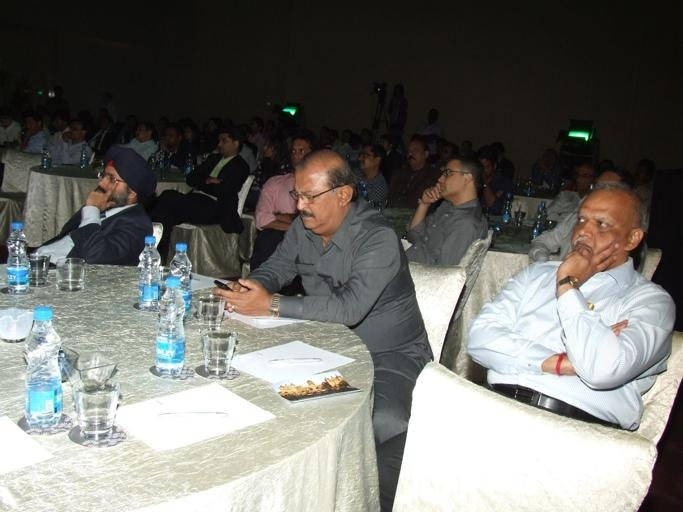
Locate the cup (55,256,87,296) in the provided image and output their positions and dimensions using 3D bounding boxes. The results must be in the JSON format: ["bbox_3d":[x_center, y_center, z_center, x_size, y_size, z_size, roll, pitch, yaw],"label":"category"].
[{"bbox_3d":[-1.120,0.077,2.072,0.143,0.146,0.136,2,-1,0],"label":"cup"}]

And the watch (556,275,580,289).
[{"bbox_3d":[0.860,0.095,1.807,0.062,0.040,0.066,-14,-16,31],"label":"watch"}]

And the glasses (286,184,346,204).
[{"bbox_3d":[-0.113,-0.286,2.168,0.129,0.032,0.121,-21,24,-29],"label":"glasses"}]

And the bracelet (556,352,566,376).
[{"bbox_3d":[0.826,0.401,1.802,0.019,0.067,0.052,10,10,12],"label":"bracelet"}]

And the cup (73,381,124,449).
[{"bbox_3d":[-0.527,0.363,1.123,0.135,0.130,0.133,5,18,-2],"label":"cup"}]

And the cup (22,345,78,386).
[{"bbox_3d":[-0.739,0.276,1.274,0.158,0.112,0.135,8,-6,-29],"label":"cup"}]

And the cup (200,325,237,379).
[{"bbox_3d":[-0.353,0.279,1.395,0.137,0.139,0.126,2,1,0],"label":"cup"}]

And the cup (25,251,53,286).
[{"bbox_3d":[-1.305,0.060,2.070,0.133,0.132,0.129,0,1,0],"label":"cup"}]

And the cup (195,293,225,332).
[{"bbox_3d":[-0.470,0.200,1.756,0.136,0.139,0.133,2,4,0],"label":"cup"}]

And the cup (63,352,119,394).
[{"bbox_3d":[-0.639,0.288,1.229,0.141,0.048,0.113,18,19,37],"label":"cup"}]

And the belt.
[{"bbox_3d":[0.709,0.478,1.513,0.243,0.056,0.227,19,-10,9],"label":"belt"}]
